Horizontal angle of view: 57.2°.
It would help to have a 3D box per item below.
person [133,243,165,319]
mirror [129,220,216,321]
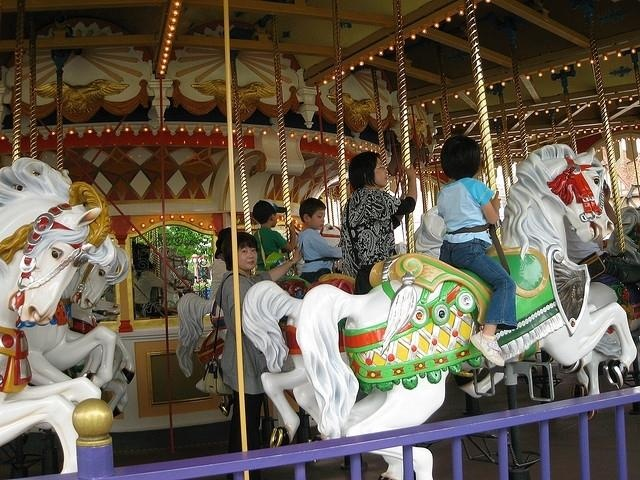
[{"bbox_3d":[-2.378,0.533,8.129,0.382,1.058,0.178,-1,-8,-22],"label":"person"},{"bbox_3d":[-2.025,0.391,7.854,1.196,1.435,0.059,-1,6,-14],"label":"mirror"}]
